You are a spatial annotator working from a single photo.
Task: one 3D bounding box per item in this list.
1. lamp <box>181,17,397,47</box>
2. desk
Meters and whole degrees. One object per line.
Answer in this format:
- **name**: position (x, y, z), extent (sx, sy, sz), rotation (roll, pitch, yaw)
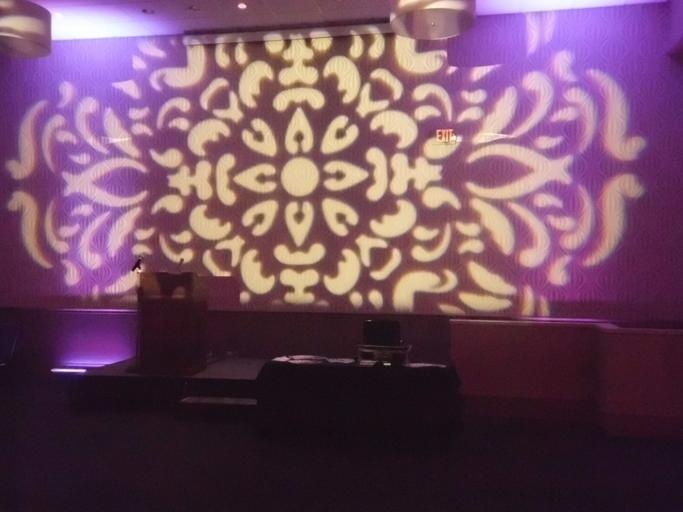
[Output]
- **lamp**: position (-0.585, -2.288, 6.261), extent (2.187, 0.239, 0.183), rotation (3, 2, 9)
- **desk**: position (0.140, 0.947, 3.939), extent (0.870, 0.378, 0.910), rotation (0, -6, 10)
